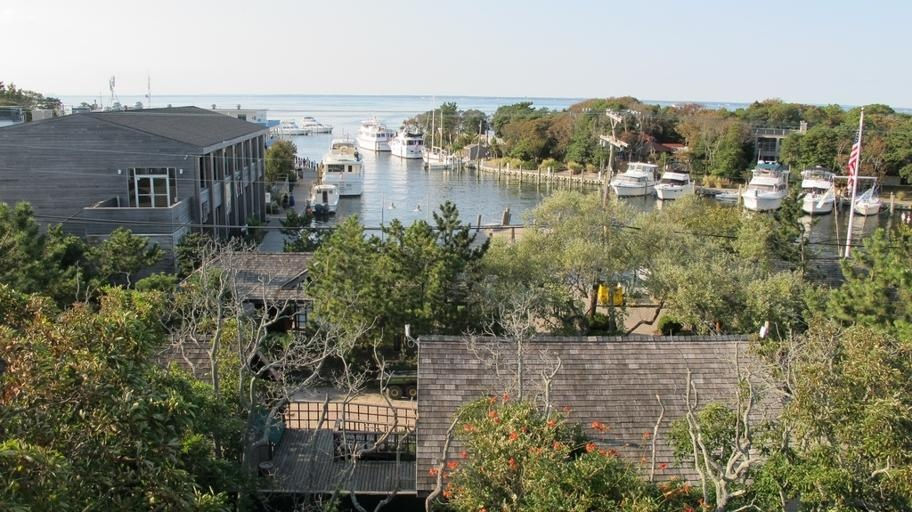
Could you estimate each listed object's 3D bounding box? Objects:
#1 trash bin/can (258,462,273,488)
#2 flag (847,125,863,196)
[{"bbox_3d":[-10.295,11.786,65.412,0.770,1.076,0.823,4,-32,2],"label":"trash bin/can"},{"bbox_3d":[28.097,-6.875,84.645,0.699,4.364,6.371,2,4,17],"label":"flag"}]
